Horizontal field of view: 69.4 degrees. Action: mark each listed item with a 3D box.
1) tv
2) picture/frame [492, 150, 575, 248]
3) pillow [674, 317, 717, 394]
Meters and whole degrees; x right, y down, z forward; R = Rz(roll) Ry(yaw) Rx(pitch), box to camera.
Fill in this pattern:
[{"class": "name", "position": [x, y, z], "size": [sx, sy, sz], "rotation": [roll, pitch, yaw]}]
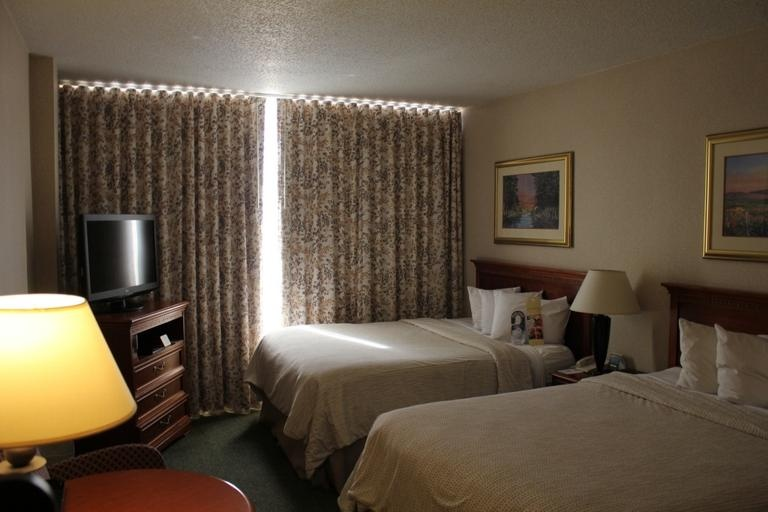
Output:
[{"class": "tv", "position": [-2.408, 0.067, 5.009], "size": [0.344, 0.901, 0.951], "rotation": [-3, 1, 17]}, {"class": "picture/frame", "position": [1.645, -0.614, 5.982], "size": [0.080, 0.982, 1.152], "rotation": [0, 0, -35]}, {"class": "pillow", "position": [2.370, 0.762, 4.203], "size": [0.178, 0.436, 0.458], "rotation": [0, 10, 10]}]
